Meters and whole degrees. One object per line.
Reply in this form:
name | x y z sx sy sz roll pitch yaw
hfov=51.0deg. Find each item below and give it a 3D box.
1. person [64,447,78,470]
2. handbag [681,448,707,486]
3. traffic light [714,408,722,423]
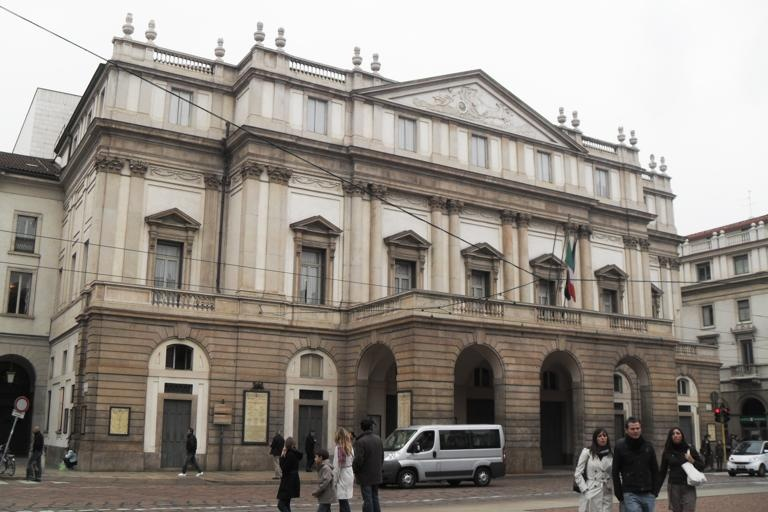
person | -17.089 11.083 43.791 0.787 0.908 0.512 -3 5 -8
handbag | 9.847 6.724 25.460 0.469 1.135 0.709 -5 6 -37
traffic light | 21.424 10.100 51.410 0.438 0.861 0.452 1 5 29
